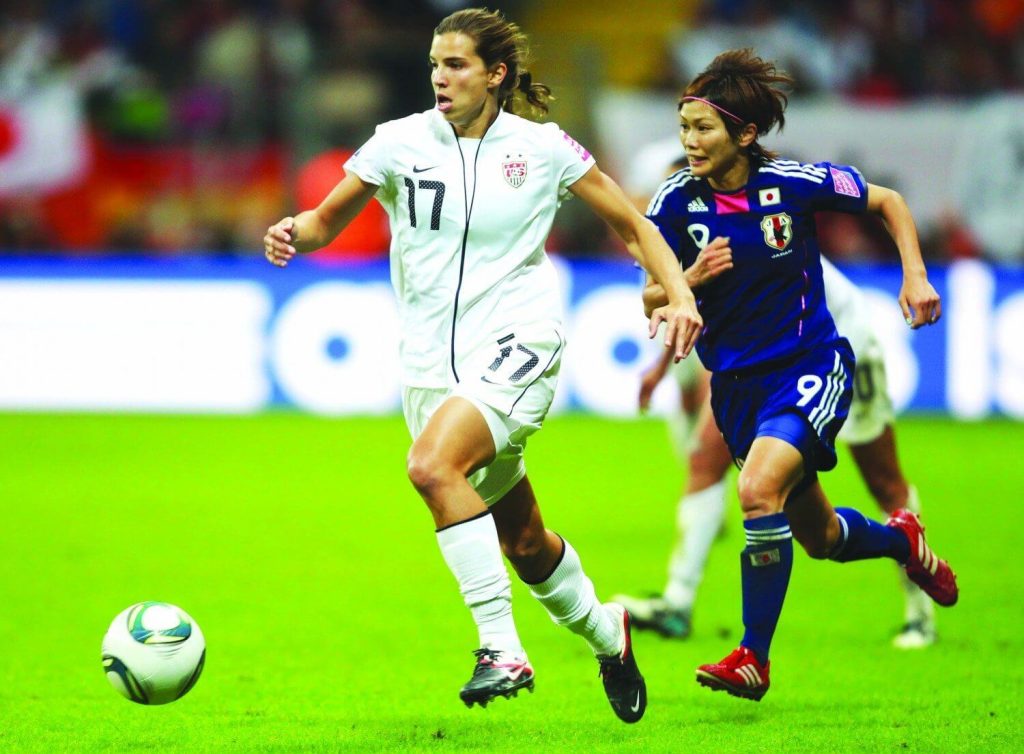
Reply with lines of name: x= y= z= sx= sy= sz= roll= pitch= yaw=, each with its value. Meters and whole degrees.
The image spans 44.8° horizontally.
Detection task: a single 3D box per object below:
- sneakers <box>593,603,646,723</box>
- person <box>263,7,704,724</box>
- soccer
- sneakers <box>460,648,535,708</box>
sneakers: x=0.489 y=1.209 z=5.447 sx=0.157 sy=0.507 sz=0.191 roll=-17 pitch=-7 yaw=24
person: x=-0.069 y=-0.042 z=5.296 sx=1.443 sy=3.027 sz=0.918 roll=-2 pitch=6 yaw=-24
soccer: x=-1.506 y=1.105 z=5.281 sx=0.389 sy=0.418 sz=0.397 roll=16 pitch=-4 yaw=27
sneakers: x=-0.055 y=1.182 z=4.964 sx=0.143 sy=0.226 sz=0.371 roll=-37 pitch=-22 yaw=33
